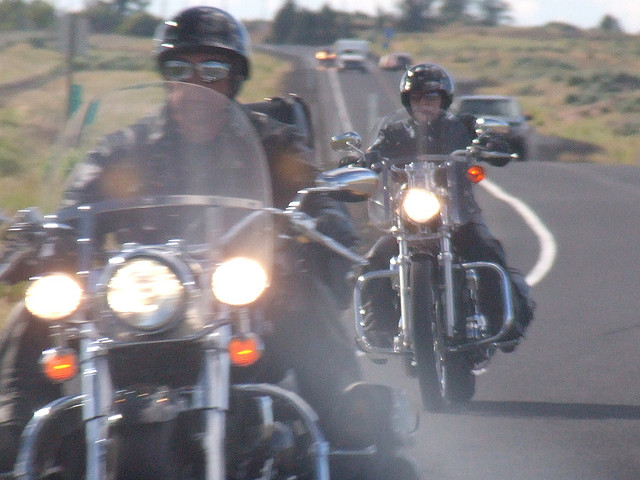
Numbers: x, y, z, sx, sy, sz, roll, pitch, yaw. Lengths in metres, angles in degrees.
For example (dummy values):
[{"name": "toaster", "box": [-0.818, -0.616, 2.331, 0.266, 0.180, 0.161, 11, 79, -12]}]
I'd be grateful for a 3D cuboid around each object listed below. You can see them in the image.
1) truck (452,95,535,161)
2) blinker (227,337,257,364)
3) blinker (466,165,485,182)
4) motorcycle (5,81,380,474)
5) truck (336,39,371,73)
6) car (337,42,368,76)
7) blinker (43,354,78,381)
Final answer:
[{"name": "truck", "box": [3.110, -2.075, 16.500, 1.766, 1.324, 2.921, 0, 1, 0]}, {"name": "blinker", "box": [-0.369, 0.538, 4.279, 0.128, 0.116, 0.069, 2, 24, -15]}, {"name": "blinker", "box": [1.047, -0.447, 5.996, 0.116, 0.105, 0.083, -10, -8, 14]}, {"name": "motorcycle", "box": [-0.693, 0.256, 5.041, 1.563, 1.375, 2.301, -1, -4, 3]}, {"name": "truck", "box": [1.712, -9.546, 45.479, 1.793, 1.546, 3.153, 0, 2, 1]}, {"name": "car", "box": [1.638, -9.329, 45.125, 1.628, 1.486, 2.893, -1, 1, 1]}, {"name": "blinker", "box": [-1.223, 0.600, 4.197, 0.152, 0.120, 0.076, 0, 25, -20]}]
